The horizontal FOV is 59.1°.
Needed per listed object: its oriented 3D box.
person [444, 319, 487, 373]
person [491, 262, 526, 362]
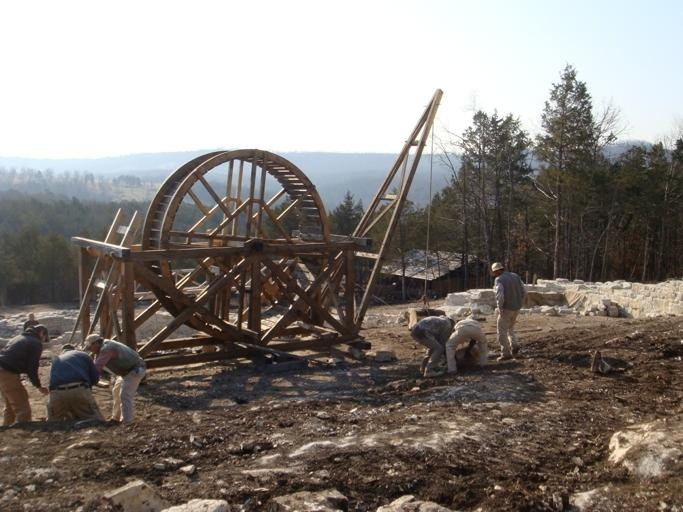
[{"bbox_3d":[2.368,1.767,11.565,0.894,1.020,0.586,-1,-7,-1],"label":"person"},{"bbox_3d":[3.357,1.121,12.228,0.596,2.015,0.835,4,10,21],"label":"person"}]
